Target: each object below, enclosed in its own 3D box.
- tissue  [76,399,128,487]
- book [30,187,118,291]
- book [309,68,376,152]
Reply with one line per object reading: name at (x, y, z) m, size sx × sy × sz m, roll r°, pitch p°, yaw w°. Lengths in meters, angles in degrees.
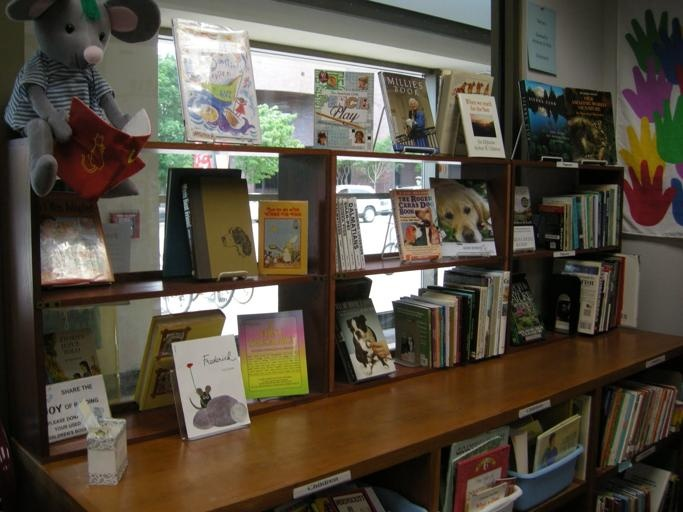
tissue  at (-0.751, 0.588, 1.612) m, size 0.126 × 0.285 × 0.205 m, roll 1°, pitch 7°, yaw -9°
book at (-0.849, -0.048, 1.709) m, size 0.266 × 0.297 × 0.066 m, roll -1°, pitch -5°, yaw -44°
book at (0.013, -0.623, 2.257) m, size 0.256 × 0.347 × 0.036 m, roll 4°, pitch 30°, yaw 2°
